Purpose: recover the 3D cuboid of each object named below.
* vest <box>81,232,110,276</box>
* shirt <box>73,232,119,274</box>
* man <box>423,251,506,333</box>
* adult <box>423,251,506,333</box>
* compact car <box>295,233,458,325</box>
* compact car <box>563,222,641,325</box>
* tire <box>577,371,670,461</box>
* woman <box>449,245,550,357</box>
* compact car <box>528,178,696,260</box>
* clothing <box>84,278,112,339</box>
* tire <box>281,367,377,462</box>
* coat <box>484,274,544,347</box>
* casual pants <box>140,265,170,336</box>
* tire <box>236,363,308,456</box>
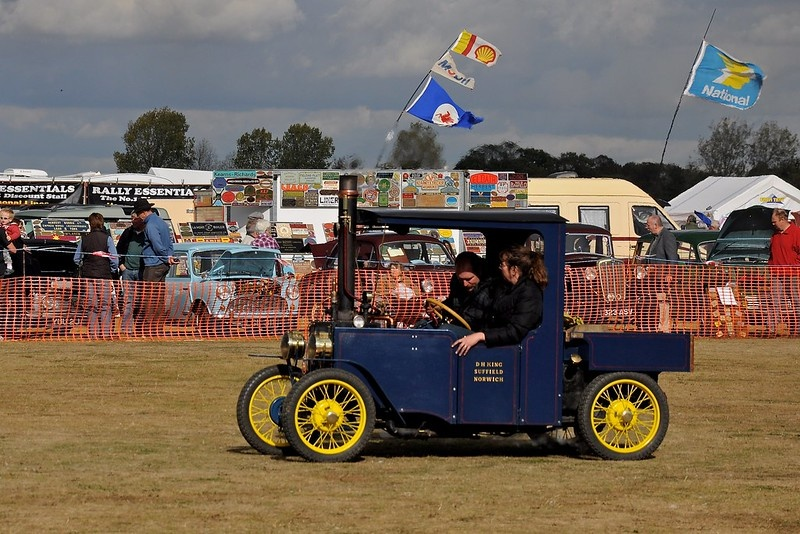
[{"bbox_3d":[-5.432,-0.192,29.157,0.638,1.038,0.537,1,-6,-11],"label":"vest"},{"bbox_3d":[-5.430,-0.142,29.415,0.941,1.056,0.654,1,2,0],"label":"shirt"},{"bbox_3d":[0.950,0.410,22.416,0.987,1.493,1.020,4,1,-27],"label":"man"},{"bbox_3d":[0.827,0.329,22.819,0.987,1.493,1.020,4,1,-27],"label":"adult"},{"bbox_3d":[-0.133,0.225,30.374,1.467,1.316,2.612,0,3,-21],"label":"compact car"},{"bbox_3d":[3.691,0.219,32.147,1.278,1.305,2.602,0,0,-6],"label":"compact car"},{"bbox_3d":[3.008,2.062,22.395,1.046,1.148,0.267,-2,5,-9],"label":"tire"},{"bbox_3d":[1.364,0.490,22.331,1.201,1.480,1.045,-5,17,-17],"label":"woman"},{"bbox_3d":[5.070,-1.066,41.213,3.514,1.984,2.087,-2,4,-5],"label":"compact car"},{"bbox_3d":[-5.410,0.736,29.137,0.557,1.024,0.043,2,6,-6],"label":"clothing"},{"bbox_3d":[-0.952,2.009,21.959,0.855,0.883,0.180,-35,12,-7],"label":"tire"},{"bbox_3d":[1.515,0.472,22.439,0.765,0.870,1.071,-4,7,-4],"label":"coat"},{"bbox_3d":[-4.488,0.557,29.745,0.437,1.612,0.657,3,8,-4],"label":"casual pants"},{"bbox_3d":[-1.721,2.009,22.221,0.932,1.016,0.170,-15,5,-10],"label":"tire"}]
